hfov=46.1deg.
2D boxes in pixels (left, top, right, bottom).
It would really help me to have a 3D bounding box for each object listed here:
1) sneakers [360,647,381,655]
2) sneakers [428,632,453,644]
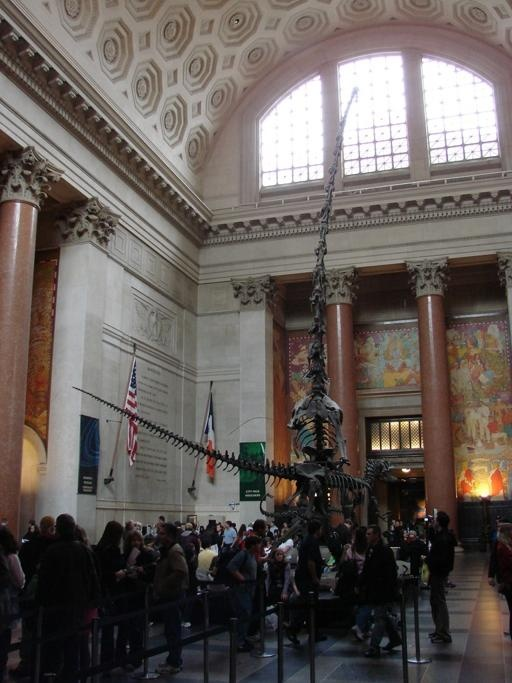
[{"bbox_3d":[0.951,2.619,5.047,0.156,0.081,0.082,4,-18,6],"label":"sneakers"},{"bbox_3d":[1.639,2.668,5.422,0.219,0.097,0.076,-1,-3,-7],"label":"sneakers"}]
